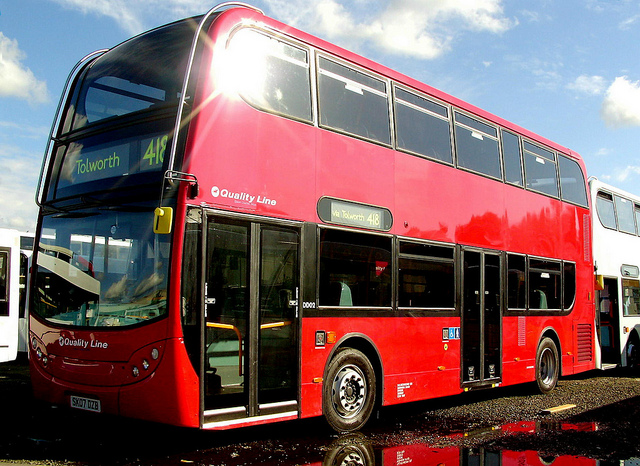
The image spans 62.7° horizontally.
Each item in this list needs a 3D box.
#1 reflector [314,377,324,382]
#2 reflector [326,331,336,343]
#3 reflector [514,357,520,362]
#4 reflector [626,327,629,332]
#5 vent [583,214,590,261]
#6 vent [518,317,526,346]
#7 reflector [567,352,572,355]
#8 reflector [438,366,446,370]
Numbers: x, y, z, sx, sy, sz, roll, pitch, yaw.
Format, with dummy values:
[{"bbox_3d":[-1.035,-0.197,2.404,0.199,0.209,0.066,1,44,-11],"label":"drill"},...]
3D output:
[{"bbox_3d":[-0.032,2.169,7.770,0.034,0.068,0.163,-5,-10,39],"label":"reflector"},{"bbox_3d":[0.155,1.587,7.959,0.040,0.170,0.145,-5,-6,44],"label":"reflector"},{"bbox_3d":[4.314,2.783,11.562,0.191,0.087,0.012,8,-10,-38],"label":"reflector"},{"bbox_3d":[9.490,2.997,16.290,0.033,0.136,0.242,-5,-10,39],"label":"reflector"},{"bbox_3d":[7.069,0.135,14.011,0.096,1.202,0.420,-5,-9,38],"label":"vent"},{"bbox_3d":[4.452,2.192,11.685,0.066,0.595,0.312,-5,-10,40],"label":"vent"},{"bbox_3d":[6.235,3.038,13.218,0.020,0.068,0.173,-6,-11,43],"label":"reflector"},{"bbox_3d":[2.230,2.509,9.726,0.016,0.065,0.223,-6,-11,44],"label":"reflector"}]
